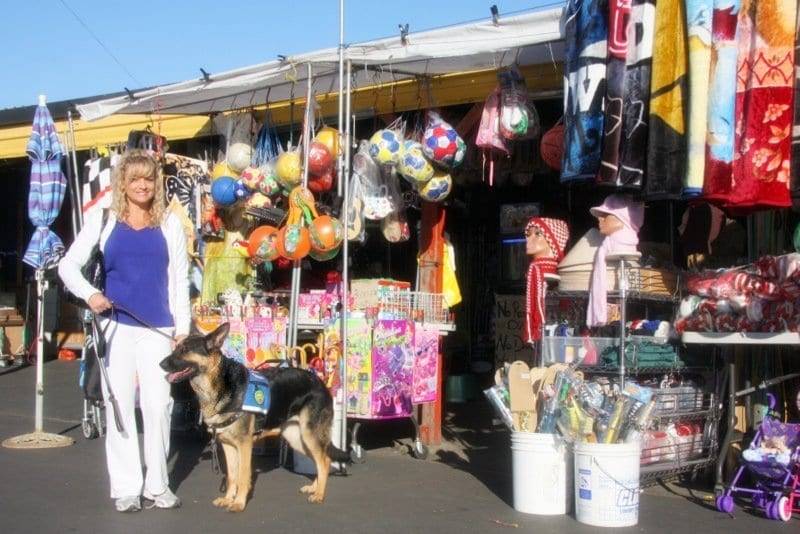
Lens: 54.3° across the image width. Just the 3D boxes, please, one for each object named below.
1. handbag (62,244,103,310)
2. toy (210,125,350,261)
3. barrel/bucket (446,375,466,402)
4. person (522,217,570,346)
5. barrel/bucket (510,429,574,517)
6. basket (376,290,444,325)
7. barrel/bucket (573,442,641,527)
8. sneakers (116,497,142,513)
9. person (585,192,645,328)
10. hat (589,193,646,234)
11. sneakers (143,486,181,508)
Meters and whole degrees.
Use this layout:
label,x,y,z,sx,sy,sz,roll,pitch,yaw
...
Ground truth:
label,x,y,z,sx,sy,sz,roll,pitch,yaw
handbag,-2.499,0.064,6.156,0.394,0.592,0.155,-8,-21,39
toy,-1.193,-0.698,7.949,0.466,1.451,1.352,14,10,-41
barrel/bucket,0.774,1.656,10.876,0.297,0.385,0.334,-1,0,4
person,1.411,0.136,7.571,0.394,1.234,0.708,1,3,11
barrel/bucket,1.098,1.681,6.523,0.546,0.671,0.585,0,-4,0
basket,0.111,0.400,7.948,0.155,0.358,0.966,3,4,38
barrel/bucket,1.571,1.708,6.245,0.530,0.653,0.577,0,-9,0
sneakers,-2.189,1.880,6.251,0.209,0.125,0.109,1,3,-4
person,1.935,-0.055,7.058,0.466,1.230,0.592,2,3,20
hat,2.002,-0.522,7.248,0.413,0.252,0.335,24,-3,2
sneakers,-1.946,1.871,6.337,0.233,0.114,0.179,-3,0,13
